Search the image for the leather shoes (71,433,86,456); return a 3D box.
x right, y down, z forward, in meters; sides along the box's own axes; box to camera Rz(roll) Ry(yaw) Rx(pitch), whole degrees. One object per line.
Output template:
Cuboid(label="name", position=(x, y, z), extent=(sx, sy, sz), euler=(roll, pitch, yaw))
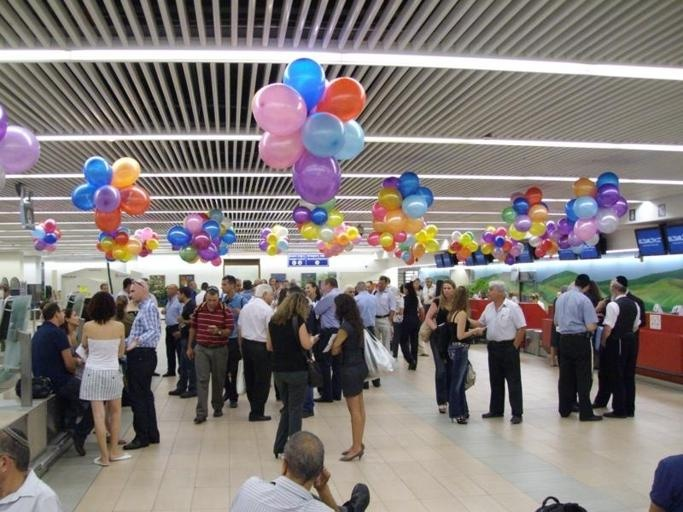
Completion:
Cuboid(label="leather shoes", position=(-3.062, 2.203, 5.185), extent=(0.141, 0.305, 0.103), euler=(-12, -3, 16))

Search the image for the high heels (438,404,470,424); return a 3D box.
Cuboid(label="high heels", position=(1.578, 2.263, 6.430), extent=(0.187, 0.128, 0.490), euler=(-4, 2, -26))

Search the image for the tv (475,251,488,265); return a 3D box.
Cuboid(label="tv", position=(6.836, 0.084, 21.793), extent=(0.803, 0.566, 0.777), euler=(-6, -12, 39))

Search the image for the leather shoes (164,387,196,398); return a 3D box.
Cuboid(label="leather shoes", position=(-2.782, 2.363, 7.784), extent=(0.558, 0.210, 0.185), euler=(4, -7, 1))

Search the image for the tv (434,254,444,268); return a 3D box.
Cuboid(label="tv", position=(6.176, 0.318, 28.133), extent=(0.681, 0.855, 0.897), euler=(-1, -2, 6))

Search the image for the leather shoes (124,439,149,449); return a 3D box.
Cuboid(label="leather shoes", position=(-2.465, 2.277, 5.373), extent=(0.204, 0.077, 0.103), euler=(8, -12, -19))

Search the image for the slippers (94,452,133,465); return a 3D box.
Cuboid(label="slippers", position=(-2.544, 2.236, 4.934), extent=(0.328, 0.080, 0.135), euler=(2, -4, -10))

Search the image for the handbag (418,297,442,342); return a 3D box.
Cuboid(label="handbag", position=(1.251, 0.971, 6.747), extent=(0.215, 0.575, 0.363), euler=(19, 14, 10))

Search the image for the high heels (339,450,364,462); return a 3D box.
Cuboid(label="high heels", position=(0.126, 2.211, 4.964), extent=(0.222, 0.102, 0.122), euler=(0, -1, -9))

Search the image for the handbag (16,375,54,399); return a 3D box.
Cuboid(label="handbag", position=(-3.365, 1.458, 4.920), extent=(0.309, 0.130, 0.233), euler=(4, 28, -12))

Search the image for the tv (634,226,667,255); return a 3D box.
Cuboid(label="tv", position=(9.119, -0.458, 13.087), extent=(0.133, 0.753, 0.876), euler=(-7, 5, -16))

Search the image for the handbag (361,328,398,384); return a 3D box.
Cuboid(label="handbag", position=(0.419, 1.167, 5.156), extent=(0.342, 0.708, 0.359), euler=(-19, 13, -2))
